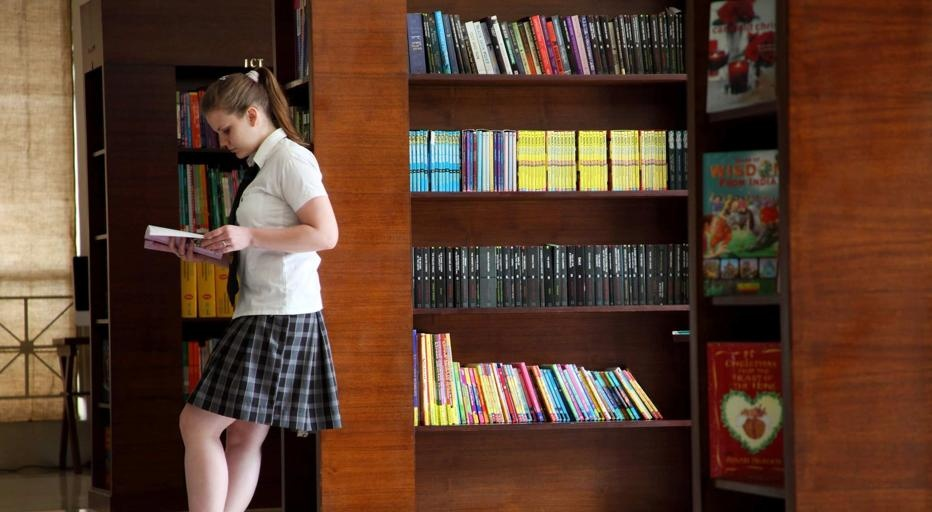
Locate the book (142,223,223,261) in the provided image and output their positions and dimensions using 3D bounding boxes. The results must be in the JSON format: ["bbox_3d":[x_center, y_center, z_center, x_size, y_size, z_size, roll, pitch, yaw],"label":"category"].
[{"bbox_3d":[-1.307,-0.058,3.709,0.339,0.143,0.272,-1,0,-15],"label":"book"}]

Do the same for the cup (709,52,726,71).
[{"bbox_3d":[1.378,-1.076,4.379,0.111,0.086,0.100,1,-1,-1],"label":"cup"}]

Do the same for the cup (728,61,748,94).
[{"bbox_3d":[1.529,-0.993,4.361,0.114,0.177,0.123,-8,21,3],"label":"cup"}]
